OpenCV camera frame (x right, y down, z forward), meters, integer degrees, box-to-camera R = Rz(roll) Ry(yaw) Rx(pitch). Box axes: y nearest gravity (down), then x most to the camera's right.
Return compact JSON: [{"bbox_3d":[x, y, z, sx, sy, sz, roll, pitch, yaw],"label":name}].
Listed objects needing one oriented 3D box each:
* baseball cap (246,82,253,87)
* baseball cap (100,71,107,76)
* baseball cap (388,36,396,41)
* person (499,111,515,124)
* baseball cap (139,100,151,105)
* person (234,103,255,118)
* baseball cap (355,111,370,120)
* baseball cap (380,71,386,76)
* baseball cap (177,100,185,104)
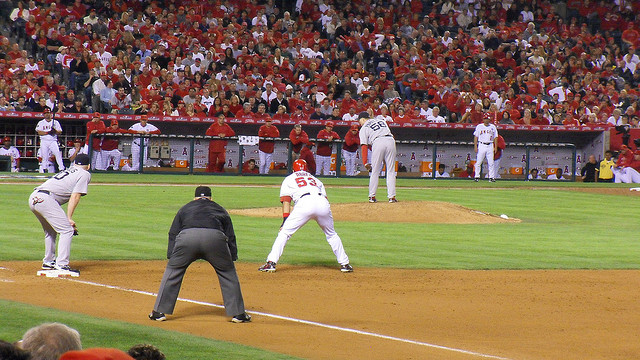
[{"bbox_3d":[-3.642,-5.135,56.303,0.330,0.217,0.444,2,-1,-7],"label":"baseball cap"},{"bbox_3d":[-11.081,-5.594,55.271,0.304,0.202,0.440,2,-1,-27],"label":"baseball cap"},{"bbox_3d":[4.079,-8.226,61.038,0.311,0.190,0.207,-3,7,7],"label":"baseball cap"},{"bbox_3d":[9.951,-3.390,57.313,0.723,0.711,0.439,-3,-28,-2],"label":"person"},{"bbox_3d":[-8.988,-4.110,55.601,0.526,0.160,0.323,-1,5,-27],"label":"baseball cap"},{"bbox_3d":[-3.828,-3.700,55.868,0.935,0.556,0.329,2,-1,-5],"label":"person"},{"bbox_3d":[1.889,-2.893,46.576,0.480,0.203,0.290,-4,7,13],"label":"baseball cap"},{"bbox_3d":[3.451,-5.921,58.534,0.309,0.285,0.459,2,-1,2],"label":"baseball cap"},{"bbox_3d":[-7.095,-4.129,55.476,0.343,0.164,0.293,2,-1,-26],"label":"baseball cap"}]
